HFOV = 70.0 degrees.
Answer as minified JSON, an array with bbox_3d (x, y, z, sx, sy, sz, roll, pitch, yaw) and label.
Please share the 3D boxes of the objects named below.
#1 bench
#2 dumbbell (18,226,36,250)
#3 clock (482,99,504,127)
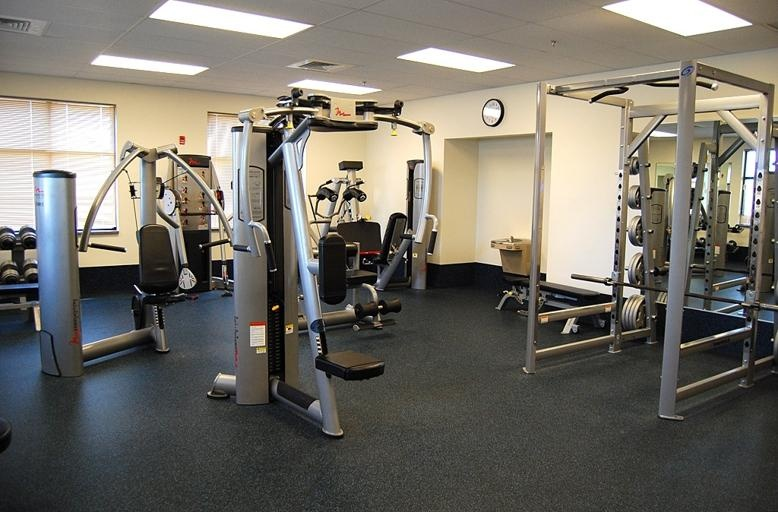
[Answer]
[{"bbox_3d":[2.184,0.618,7.702,0.913,0.628,1.466,-8,16,-30],"label":"bench"},{"bbox_3d":[-4.884,-0.202,7.531,0.190,0.321,0.428,-9,17,-33],"label":"dumbbell"},{"bbox_3d":[1.599,-2.192,8.573,0.084,0.444,0.455,-10,18,-34],"label":"clock"}]
